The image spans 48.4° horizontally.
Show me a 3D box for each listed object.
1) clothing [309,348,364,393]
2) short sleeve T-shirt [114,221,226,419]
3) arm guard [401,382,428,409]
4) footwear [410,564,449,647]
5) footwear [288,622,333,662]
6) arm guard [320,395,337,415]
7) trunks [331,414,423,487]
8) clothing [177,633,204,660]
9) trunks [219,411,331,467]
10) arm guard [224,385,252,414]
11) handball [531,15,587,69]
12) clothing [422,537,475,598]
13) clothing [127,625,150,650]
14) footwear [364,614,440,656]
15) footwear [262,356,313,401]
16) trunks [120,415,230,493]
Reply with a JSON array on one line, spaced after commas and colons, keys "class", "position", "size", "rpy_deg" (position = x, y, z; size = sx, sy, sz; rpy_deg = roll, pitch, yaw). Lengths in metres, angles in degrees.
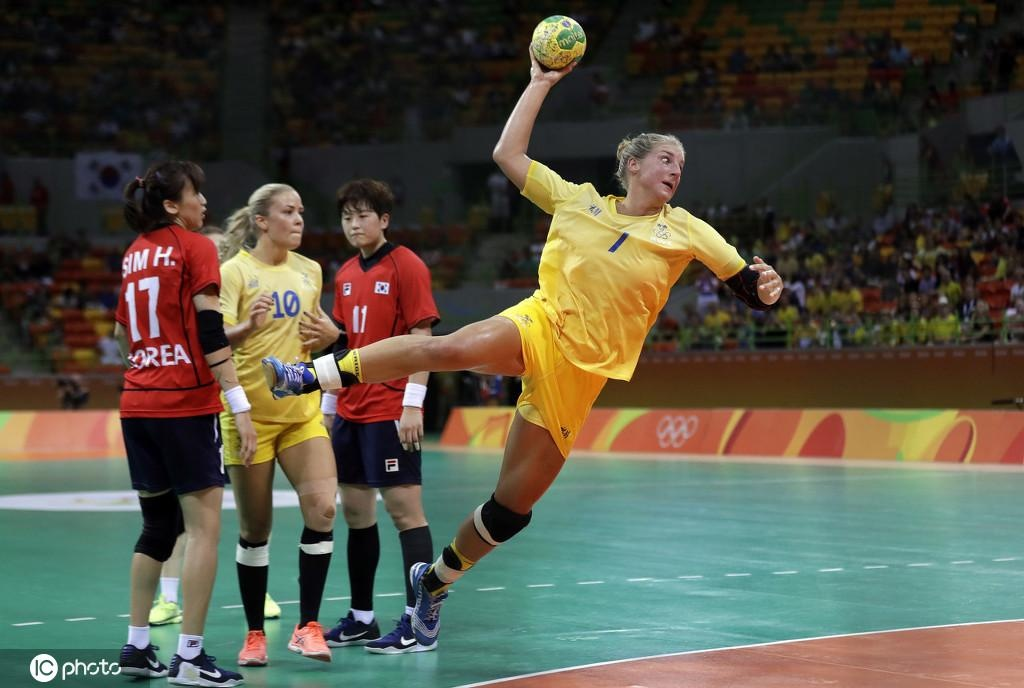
[{"class": "clothing", "position": [-1.372, 0.193, 8.869], "size": [0.355, 0.309, 0.384], "rpy_deg": [-2, 3, -28]}, {"class": "short sleeve T-shirt", "position": [-2.607, -0.186, 8.588], "size": [0.771, 1.446, 0.260], "rpy_deg": [0, 3, 15]}, {"class": "arm guard", "position": [-0.775, 0.409, 9.294], "size": [0.207, 0.209, 0.199], "rpy_deg": [13, -7, -42]}, {"class": "footwear", "position": [-0.708, 2.138, 9.249], "size": [0.245, 0.707, 0.306], "rpy_deg": [6, -5, -21]}, {"class": "footwear", "position": [-1.607, 2.352, 9.081], "size": [0.211, 0.266, 0.456], "rpy_deg": [-3, 3, -31]}, {"class": "arm guard", "position": [-1.576, 0.516, 9.853], "size": [0.156, 0.172, 0.168], "rpy_deg": [-1, 1, 30]}, {"class": "trunks", "position": [-1.093, 0.927, 9.687], "size": [0.912, 0.808, 0.544], "rpy_deg": [-4, -7, 35]}, {"class": "clothing", "position": [-2.384, 2.266, 8.552], "size": [0.166, 0.184, 0.186], "rpy_deg": [13, -12, -33]}, {"class": "trunks", "position": [-1.927, 0.764, 9.321], "size": [0.733, 0.295, 0.413], "rpy_deg": [-1, -10, -20]}, {"class": "arm guard", "position": [-2.087, 0.415, 8.726], "size": [0.161, 0.189, 0.134], "rpy_deg": [-28, -11, -16]}, {"class": "handball", "position": [0.408, -2.543, 9.511], "size": [0.468, 0.438, 0.441], "rpy_deg": [11, 27, 6]}, {"class": "clothing", "position": [-0.589, 1.784, 9.141], "size": [0.241, 0.471, 0.666], "rpy_deg": [35, -16, -8]}, {"class": "clothing", "position": [-2.854, 2.218, 8.675], "size": [0.152, 0.169, 0.186], "rpy_deg": [1, -1, 2]}, {"class": "footwear", "position": [-0.896, 2.389, 9.344], "size": [0.695, 0.307, 0.225], "rpy_deg": [3, -5, -8]}, {"class": "footwear", "position": [-1.703, 0.249, 8.784], "size": [0.406, 0.312, 0.247], "rpy_deg": [-2, 3, -19]}, {"class": "trunks", "position": [-2.582, 0.812, 8.702], "size": [0.948, 0.712, 0.568], "rpy_deg": [-1, -1, 25]}]
